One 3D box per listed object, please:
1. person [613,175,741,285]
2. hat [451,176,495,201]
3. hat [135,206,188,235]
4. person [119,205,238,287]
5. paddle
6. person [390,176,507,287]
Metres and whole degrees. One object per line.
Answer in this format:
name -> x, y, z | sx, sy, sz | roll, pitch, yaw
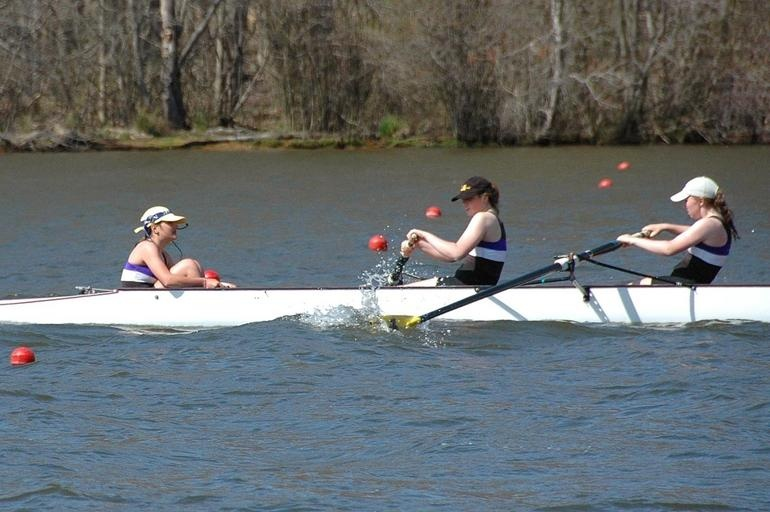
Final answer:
person -> 4.605, -0.402, 21.998 | 1.422, 1.654, 0.505 | -4, 15, -15
hat -> 1.370, -1.079, 22.039 | 0.623, 0.261, 0.378 | -13, 4, -20
hat -> -3.716, -0.596, 22.296 | 1.038, 0.307, 0.690 | -7, 4, 19
person -> -3.098, -0.060, 22.321 | 2.211, 1.354, 1.159 | 0, 9, 19
paddle -> 2.008, 0.450, 22.832 | 4.100, 0.510, 0.416 | -19, 12, -15
person -> 1.138, -0.373, 22.078 | 1.339, 1.742, 0.619 | 0, 15, 2
